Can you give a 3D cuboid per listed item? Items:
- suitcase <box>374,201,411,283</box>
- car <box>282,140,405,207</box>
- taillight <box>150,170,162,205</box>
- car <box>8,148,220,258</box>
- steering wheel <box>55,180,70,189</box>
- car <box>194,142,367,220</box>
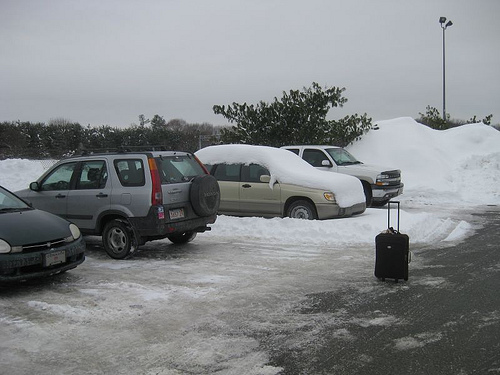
[{"bbox_3d":[2.537,1.131,6.511,0.564,0.922,0.330,1,4,23],"label":"suitcase"},{"bbox_3d":[3.480,-0.612,15.401,5.101,2.166,2.574,1,4,28],"label":"car"},{"bbox_3d":[-1.923,-0.013,7.753,0.204,0.700,0.153,-2,4,-14],"label":"taillight"},{"bbox_3d":[-2.999,0.169,8.676,4.212,1.781,2.428,5,6,23],"label":"car"},{"bbox_3d":[-4.437,-0.074,8.804,0.294,0.121,0.213,0,1,24],"label":"steering wheel"},{"bbox_3d":[0.912,-0.247,11.973,4.404,1.802,2.407,-1,1,22],"label":"car"}]
